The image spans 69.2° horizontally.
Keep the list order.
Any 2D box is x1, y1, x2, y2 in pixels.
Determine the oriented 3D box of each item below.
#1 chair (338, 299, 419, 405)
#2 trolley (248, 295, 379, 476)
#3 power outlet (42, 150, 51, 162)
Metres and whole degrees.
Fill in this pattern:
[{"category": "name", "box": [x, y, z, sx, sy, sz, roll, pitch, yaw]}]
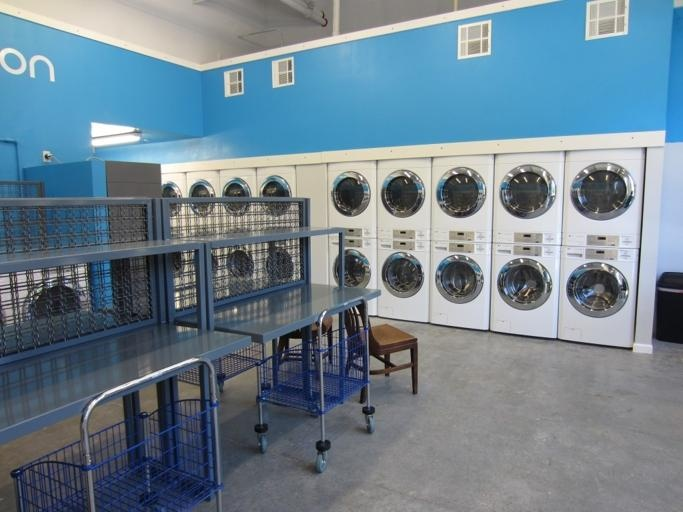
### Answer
[{"category": "chair", "box": [0.324, 0.750, 4.540, 0.662, 1.007, 0.608, -10, 13, -38]}, {"category": "trolley", "box": [-0.186, 0.944, 4.170, 0.945, 1.446, 1.151, 2, 5, 30]}, {"category": "power outlet", "box": [-3.718, -1.264, 6.267, 0.049, 0.149, 0.132, 7, 16, 29]}]
